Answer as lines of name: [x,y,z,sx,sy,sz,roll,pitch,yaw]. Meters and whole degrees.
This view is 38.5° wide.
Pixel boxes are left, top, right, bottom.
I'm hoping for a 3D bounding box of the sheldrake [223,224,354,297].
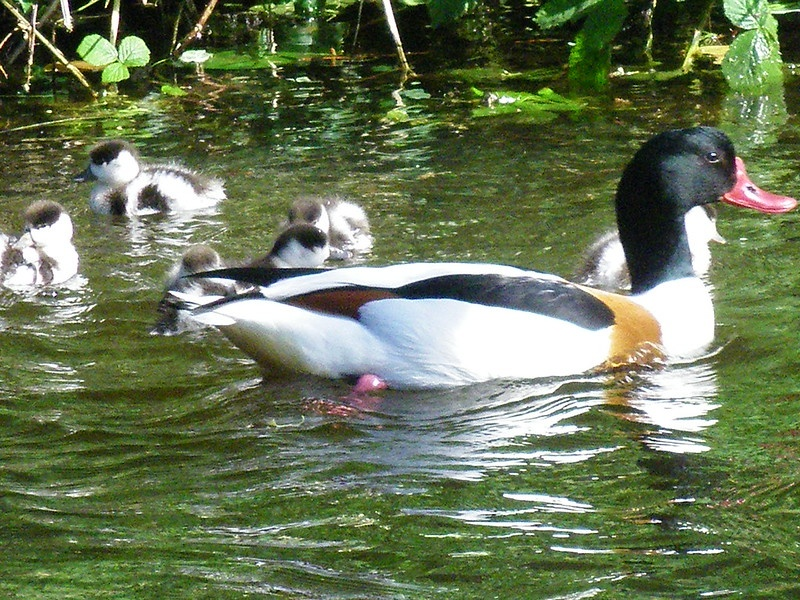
sheldrake: [-0.895,-0.260,7.047,0.949,0.418,0.274,-6,26,21]
